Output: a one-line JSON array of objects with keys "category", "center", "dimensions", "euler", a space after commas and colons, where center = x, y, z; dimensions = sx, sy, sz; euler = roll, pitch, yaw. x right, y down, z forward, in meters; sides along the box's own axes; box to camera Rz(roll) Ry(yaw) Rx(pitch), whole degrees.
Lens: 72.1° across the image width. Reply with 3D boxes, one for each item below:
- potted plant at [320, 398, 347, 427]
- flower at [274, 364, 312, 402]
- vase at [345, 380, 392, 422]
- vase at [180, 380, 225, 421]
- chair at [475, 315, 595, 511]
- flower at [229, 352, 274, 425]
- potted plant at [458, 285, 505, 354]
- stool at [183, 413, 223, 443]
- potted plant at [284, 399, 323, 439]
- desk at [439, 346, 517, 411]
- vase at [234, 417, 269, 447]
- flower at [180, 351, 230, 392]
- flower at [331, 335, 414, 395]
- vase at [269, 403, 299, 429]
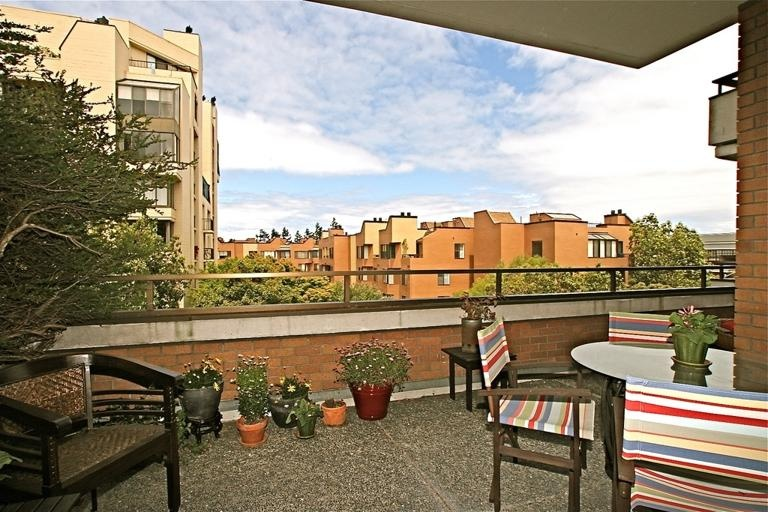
[{"category": "potted plant", "center": [-0.690, 2.222, 7.569], "dimensions": [0.402, 0.236, 0.366], "euler": [2, 0, 14]}, {"category": "flower", "center": [-1.293, 1.837, 7.663], "dimensions": [0.443, 0.359, 0.483], "euler": [2, 6, -31]}, {"category": "vase", "center": [-0.047, 2.150, 7.847], "dimensions": [0.784, 0.466, 0.690], "euler": [7, -16, -20]}, {"category": "vase", "center": [-2.470, 1.993, 7.234], "dimensions": [0.623, 0.380, 0.596], "euler": [-11, -10, 30]}, {"category": "chair", "center": [1.840, 1.823, 6.432], "dimensions": [1.286, 2.078, 1.575], "euler": [0, 0, 18]}, {"category": "flower", "center": [-1.871, 1.834, 7.431], "dimensions": [0.532, 0.810, 0.753], "euler": [-1, 0, -13]}, {"category": "potted plant", "center": [1.449, 1.086, 8.363], "dimensions": [0.700, 0.769, 0.711], "euler": [9, -14, -2]}, {"category": "stool", "center": [-2.395, 2.343, 7.223], "dimensions": [0.495, 0.271, 0.477], "euler": [-18, -15, 20]}, {"category": "potted plant", "center": [-1.074, 2.215, 7.281], "dimensions": [0.603, 0.473, 0.498], "euler": [-2, 11, -31]}, {"category": "desk", "center": [1.546, 1.889, 8.354], "dimensions": [1.124, 0.859, 1.017], "euler": [-3, 7, -23]}, {"category": "vase", "center": [-1.743, 2.343, 7.033], "dimensions": [0.402, 0.223, 0.361], "euler": [2, -4, -18]}, {"category": "flower", "center": [-2.515, 1.654, 7.289], "dimensions": [0.529, 0.251, 0.456], "euler": [10, 12, 4]}, {"category": "flower", "center": [-0.155, 1.589, 8.062], "dimensions": [1.014, 0.603, 0.996], "euler": [-15, -17, 42]}, {"category": "vase", "center": [-1.425, 2.204, 7.375], "dimensions": [0.422, 0.286, 0.432], "euler": [-1, -7, 31]}]
